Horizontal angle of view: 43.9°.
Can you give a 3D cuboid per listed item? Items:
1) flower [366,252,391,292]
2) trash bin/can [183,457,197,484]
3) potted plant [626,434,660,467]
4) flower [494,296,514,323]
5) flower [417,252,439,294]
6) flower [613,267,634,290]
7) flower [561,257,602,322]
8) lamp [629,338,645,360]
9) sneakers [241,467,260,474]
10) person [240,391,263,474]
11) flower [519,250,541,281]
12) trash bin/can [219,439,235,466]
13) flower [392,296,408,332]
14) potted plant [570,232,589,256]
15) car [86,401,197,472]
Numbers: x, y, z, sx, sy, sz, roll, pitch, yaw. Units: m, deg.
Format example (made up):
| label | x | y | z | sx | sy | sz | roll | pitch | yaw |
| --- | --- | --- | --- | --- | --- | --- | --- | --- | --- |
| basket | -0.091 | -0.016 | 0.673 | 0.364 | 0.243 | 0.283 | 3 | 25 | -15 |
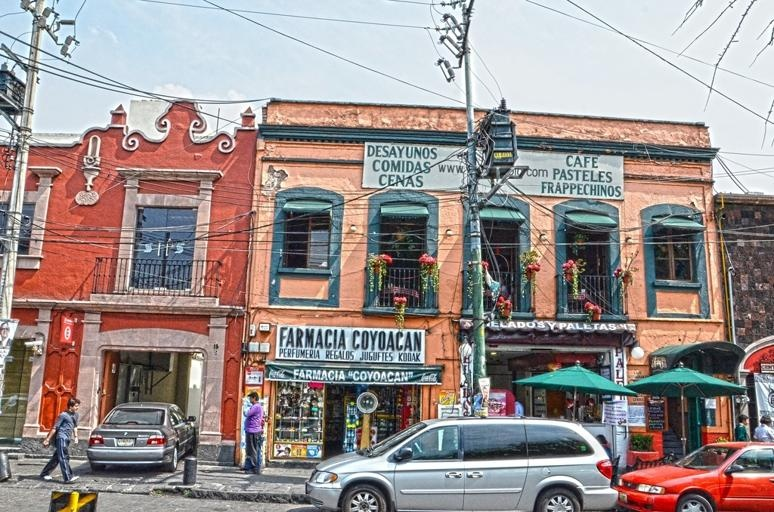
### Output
| label | x | y | z | sx | sy | sz | roll | pitch | yaw |
| --- | --- | --- | --- | --- | --- | --- | --- | --- | --- |
| flower | -0.258 | 0.542 | 32.958 | 0.839 | 1.239 | 1.030 | 2 | -17 | -1 |
| trash bin/can | -5.866 | 6.409 | 28.773 | 0.368 | 0.869 | 0.460 | 5 | -18 | -11 |
| potted plant | 8.645 | 6.490 | 32.366 | 1.242 | 1.424 | 1.020 | 2 | -16 | -6 |
| flower | 4.029 | 1.794 | 32.841 | 0.324 | 0.740 | 0.659 | -6 | 7 | -37 |
| flower | 1.461 | 0.556 | 32.893 | 0.848 | 1.120 | 0.494 | 1 | 12 | -2 |
| flower | 8.240 | 0.701 | 33.419 | 0.714 | 0.683 | 0.459 | 2 | -18 | -2 |
| flower | 6.693 | 1.088 | 33.366 | 1.489 | 2.317 | 0.837 | 13 | -21 | -33 |
| lamp | 8.687 | 3.269 | 33.316 | 0.464 | 0.655 | 0.237 | 9 | -19 | -23 |
| sneakers | -4.377 | 6.877 | 30.885 | 0.533 | 0.177 | 0.252 | -2 | -18 | 11 |
| person | -4.346 | 5.737 | 31.283 | 0.613 | 2.575 | 0.848 | 4 | -18 | -8 |
| flower | 4.909 | 0.264 | 33.075 | 0.815 | 0.905 | 0.543 | 3 | -13 | 15 |
| trash bin/can | -5.344 | 6.563 | 32.123 | 0.669 | 0.677 | 0.655 | 0 | -9 | 6 |
| flower | 0.478 | 1.874 | 32.747 | 0.437 | 1.110 | 0.783 | 1 | -18 | 1 |
| potted plant | 6.820 | -0.438 | 33.969 | 0.593 | 0.793 | 0.855 | 1 | -17 | 2 |
| car | -7.701 | 5.661 | 30.499 | 3.413 | 2.225 | 2.114 | 12 | -20 | -30 |
